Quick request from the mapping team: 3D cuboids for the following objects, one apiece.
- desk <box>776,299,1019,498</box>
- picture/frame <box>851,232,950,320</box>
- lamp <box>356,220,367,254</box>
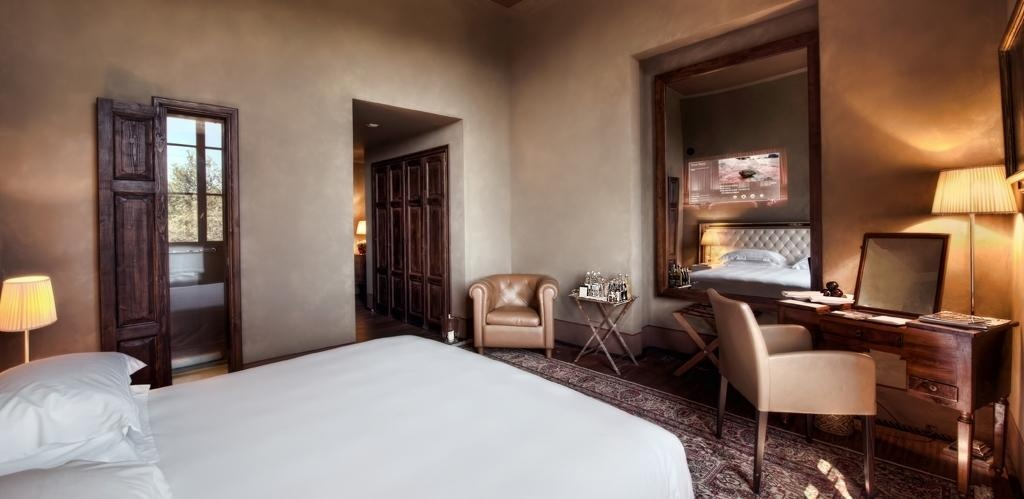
[{"bbox_3d":[4.254,1.667,6.150,0.882,1.363,2.379,1,-1,-35],"label":"desk"},{"bbox_3d":[4.516,0.332,6.464,1.097,1.279,0.151,4,-9,30],"label":"picture/frame"},{"bbox_3d":[-3.322,-0.281,12.187,0.205,0.719,0.704,-5,6,-17],"label":"lamp"}]
